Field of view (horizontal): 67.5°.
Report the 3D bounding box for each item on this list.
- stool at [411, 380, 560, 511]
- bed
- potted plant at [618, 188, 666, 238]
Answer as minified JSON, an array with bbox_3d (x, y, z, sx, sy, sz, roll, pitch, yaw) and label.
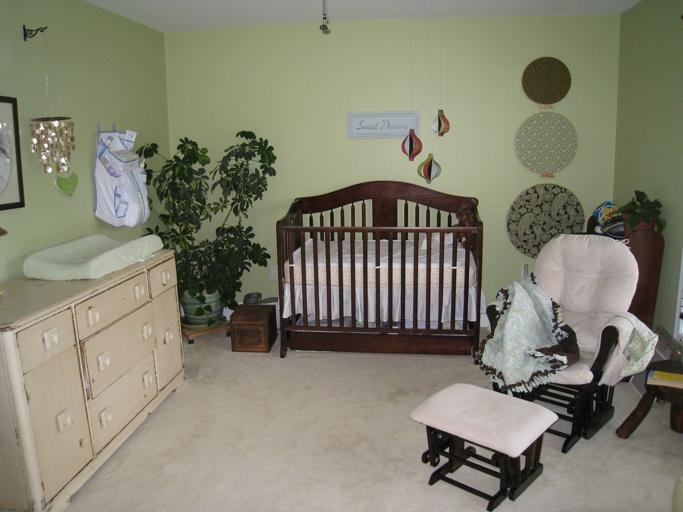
[{"bbox_3d":[0.784,0.915,2.804,0.761,0.562,0.616,9,16,41],"label":"stool"},{"bbox_3d":[0.368,0.062,4.653,1.762,1.451,1.375,3,11,14],"label":"bed"},{"bbox_3d":[2.320,-0.326,3.928,0.313,0.334,0.114,1,-8,17],"label":"potted plant"}]
